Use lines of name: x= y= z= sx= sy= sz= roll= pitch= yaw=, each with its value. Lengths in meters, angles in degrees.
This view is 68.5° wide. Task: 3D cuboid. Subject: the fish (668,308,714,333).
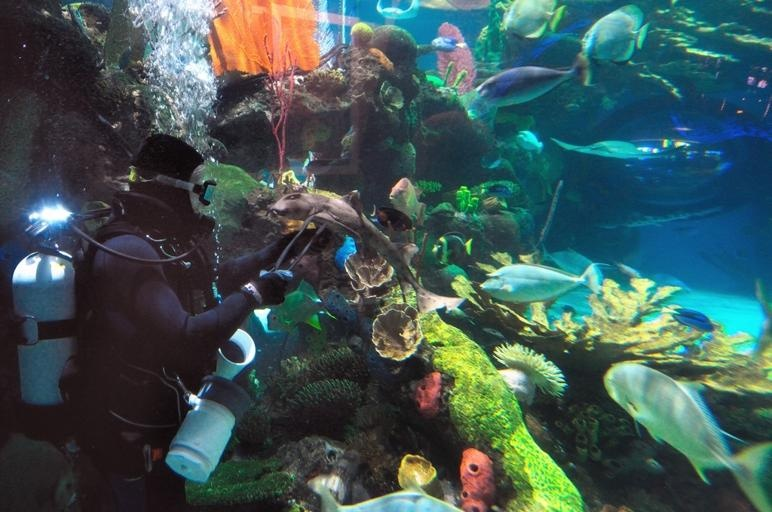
fish: x=4.932 y=1.026 z=9.065 sx=0.442 sy=0.139 sz=0.424 roll=17 pitch=10 yaw=-13
